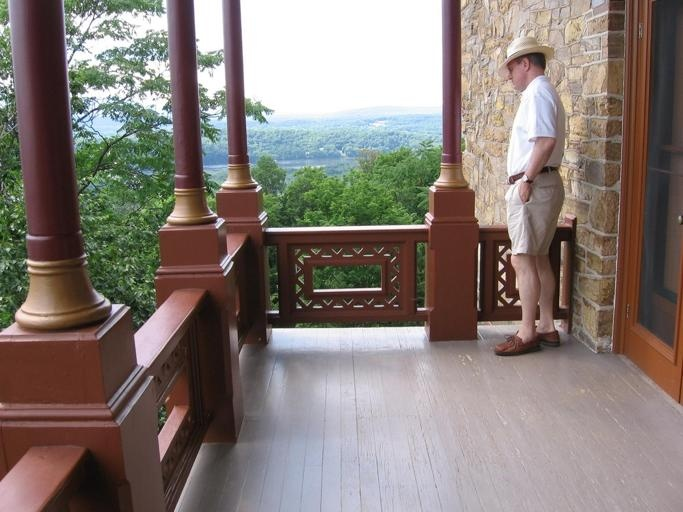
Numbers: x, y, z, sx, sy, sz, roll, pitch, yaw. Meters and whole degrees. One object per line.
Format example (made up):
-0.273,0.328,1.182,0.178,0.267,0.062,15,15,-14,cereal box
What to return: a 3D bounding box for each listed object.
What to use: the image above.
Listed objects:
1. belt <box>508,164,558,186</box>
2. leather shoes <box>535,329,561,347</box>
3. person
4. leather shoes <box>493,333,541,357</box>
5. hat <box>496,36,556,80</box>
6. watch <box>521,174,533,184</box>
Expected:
1.231,-0.512,3.441,0.296,0.136,0.218,5,16,24,belt
1.449,0.571,3.768,0.083,0.099,0.227,-3,8,-12,leather shoes
1.277,-0.381,3.530,0.443,2.033,0.492,2,14,17,person
1.198,0.581,3.638,0.282,0.122,0.130,-4,1,-11,leather shoes
1.227,-1.353,3.547,0.367,0.215,0.361,-28,-6,30,hat
1.167,-0.477,3.345,0.054,0.044,0.060,6,18,-23,watch
